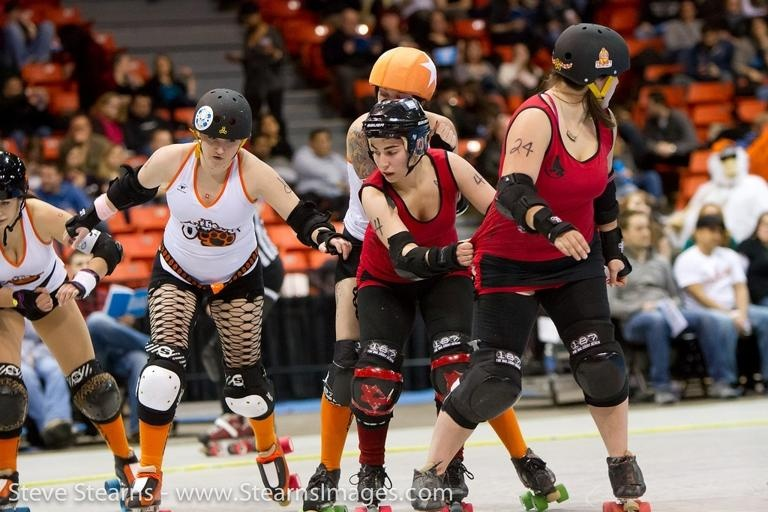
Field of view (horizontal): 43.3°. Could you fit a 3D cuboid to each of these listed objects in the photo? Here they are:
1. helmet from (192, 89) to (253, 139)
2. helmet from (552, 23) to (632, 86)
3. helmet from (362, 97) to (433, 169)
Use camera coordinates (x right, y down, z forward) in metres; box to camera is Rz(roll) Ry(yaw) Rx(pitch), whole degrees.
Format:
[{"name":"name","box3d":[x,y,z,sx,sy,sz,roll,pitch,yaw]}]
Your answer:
[{"name":"helmet","box3d":[-1.199,-1.039,7.146,0.420,0.401,0.261,-3,2,-10]},{"name":"helmet","box3d":[1.409,-1.415,6.762,0.482,0.397,0.392,-12,21,-3]},{"name":"helmet","box3d":[0.080,-0.846,6.962,0.467,0.632,0.465,-13,10,-43]}]
